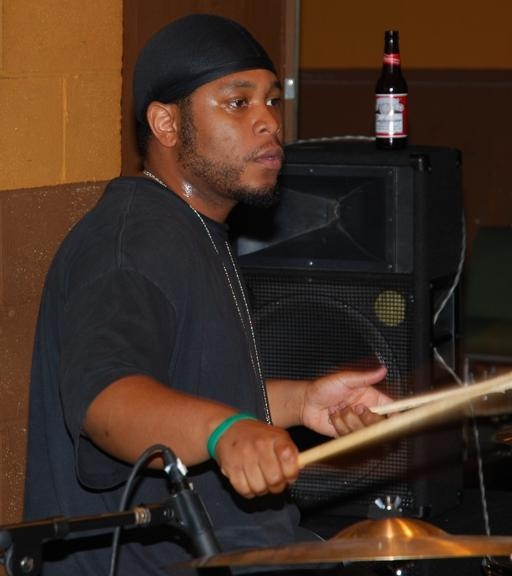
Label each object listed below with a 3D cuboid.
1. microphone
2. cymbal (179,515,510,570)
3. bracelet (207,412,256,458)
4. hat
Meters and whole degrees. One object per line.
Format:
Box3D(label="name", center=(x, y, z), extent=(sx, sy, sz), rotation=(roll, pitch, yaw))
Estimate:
Box3D(label="microphone", center=(-0.089, 0.251, 0.971), extent=(0.051, 0.180, 0.050), rotation=(-18, -18, -19))
Box3D(label="cymbal", center=(0.133, 0.302, 0.928), extent=(0.256, 0.046, 0.237), rotation=(0, -19, -12))
Box3D(label="bracelet", center=(-0.033, 0.195, 1.035), extent=(0.068, 0.056, 0.046), rotation=(-5, 6, -5))
Box3D(label="hat", center=(-0.145, -0.485, 1.693), extent=(0.290, 0.164, 0.289), rotation=(3, 15, 41))
